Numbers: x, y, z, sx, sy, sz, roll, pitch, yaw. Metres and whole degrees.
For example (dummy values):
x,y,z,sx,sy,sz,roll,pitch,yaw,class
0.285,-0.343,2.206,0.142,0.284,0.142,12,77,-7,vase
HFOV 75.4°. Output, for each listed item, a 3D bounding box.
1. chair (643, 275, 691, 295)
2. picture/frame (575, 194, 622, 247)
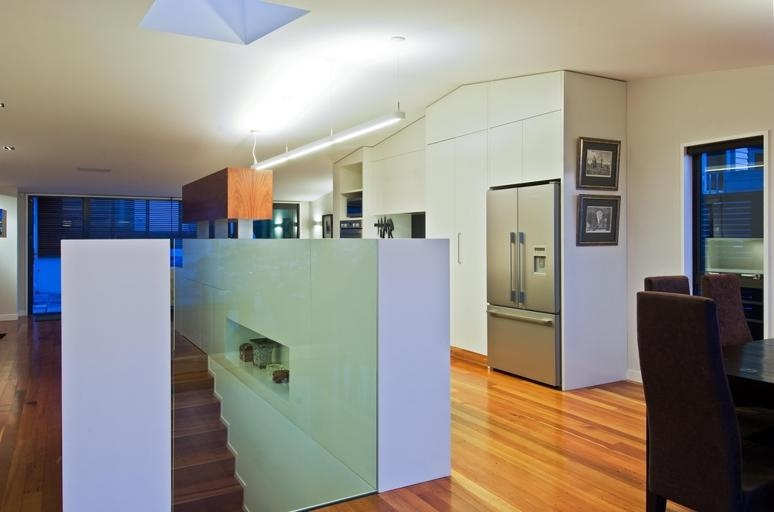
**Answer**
x,y,z,sx,sy,sz,roll,pitch,yaw,class
2.205,0.219,3.933,0.337,0.240,0.187,0,-1,-12,chair
2.412,-0.420,5.795,0.603,0.626,0.045,0,0,-25,picture/frame
